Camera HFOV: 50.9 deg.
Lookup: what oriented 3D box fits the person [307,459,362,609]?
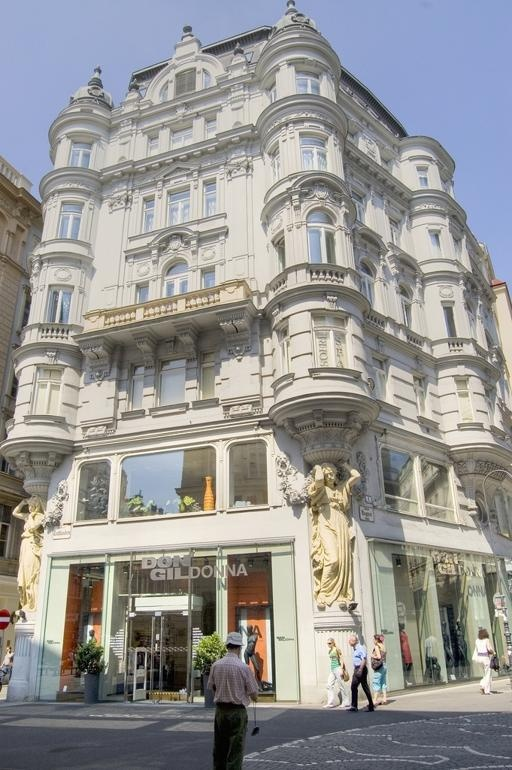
[{"bbox_3d":[2.306,4.464,16.302,1.319,4.277,0.818,-3,-24,5],"label":"person"}]

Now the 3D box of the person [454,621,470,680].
[{"bbox_3d":[7.489,9.519,19.473,0.314,1.835,1.000,-16,-28,31],"label":"person"}]

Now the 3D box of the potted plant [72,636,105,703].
[{"bbox_3d":[-5.296,8.985,16.907,0.893,1.763,1.017,4,-24,-10],"label":"potted plant"}]

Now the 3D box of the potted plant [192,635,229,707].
[{"bbox_3d":[-1.144,7.070,13.514,0.794,1.535,0.671,19,-37,-41],"label":"potted plant"}]

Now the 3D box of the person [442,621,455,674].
[{"bbox_3d":[6.821,9.276,18.924,0.171,1.733,0.692,-18,-29,34],"label":"person"}]

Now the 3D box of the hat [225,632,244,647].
[{"bbox_3d":[-0.163,1.954,4.185,0.130,0.095,0.167,2,-22,6],"label":"hat"}]

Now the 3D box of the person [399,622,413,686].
[{"bbox_3d":[4.871,8.703,17.381,0.175,1.789,0.710,-17,-28,32],"label":"person"}]

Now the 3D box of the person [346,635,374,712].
[{"bbox_3d":[2.480,6.836,12.880,0.534,1.580,2.206,-5,-24,9],"label":"person"}]

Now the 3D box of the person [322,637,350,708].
[{"bbox_3d":[2.056,7.346,13.791,0.623,1.621,2.588,-4,-24,7],"label":"person"}]

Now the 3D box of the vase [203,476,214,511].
[{"bbox_3d":[-1.656,3.729,18.593,0.411,1.220,0.276,-1,-24,-1],"label":"vase"}]

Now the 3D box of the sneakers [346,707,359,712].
[{"bbox_3d":[2.186,7.307,12.137,0.230,0.102,0.574,-4,-24,6],"label":"sneakers"}]
